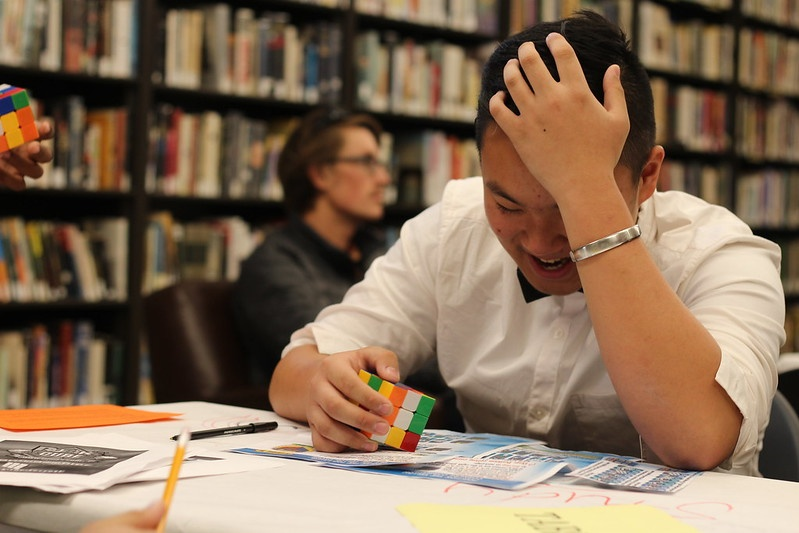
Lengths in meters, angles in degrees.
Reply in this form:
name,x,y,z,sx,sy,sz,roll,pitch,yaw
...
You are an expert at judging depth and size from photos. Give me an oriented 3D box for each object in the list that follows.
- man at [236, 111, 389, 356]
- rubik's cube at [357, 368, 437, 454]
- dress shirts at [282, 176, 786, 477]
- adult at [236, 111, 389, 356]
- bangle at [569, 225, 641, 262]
name,x,y,z,sx,sy,sz,roll,pitch,yaw
man,-0.293,-0.112,2.606,0.386,0.744,0.795,4,6,10
rubik's cube,-0.017,0.273,1.486,0.164,0.106,0.165,20,-4,14
dress shirts,0.386,0.276,1.803,0.896,0.898,0.659,8,47,34
adult,-0.293,-0.112,2.606,0.386,0.744,0.795,4,6,10
bangle,0.377,-0.042,1.427,0.074,0.021,0.079,-21,7,31
